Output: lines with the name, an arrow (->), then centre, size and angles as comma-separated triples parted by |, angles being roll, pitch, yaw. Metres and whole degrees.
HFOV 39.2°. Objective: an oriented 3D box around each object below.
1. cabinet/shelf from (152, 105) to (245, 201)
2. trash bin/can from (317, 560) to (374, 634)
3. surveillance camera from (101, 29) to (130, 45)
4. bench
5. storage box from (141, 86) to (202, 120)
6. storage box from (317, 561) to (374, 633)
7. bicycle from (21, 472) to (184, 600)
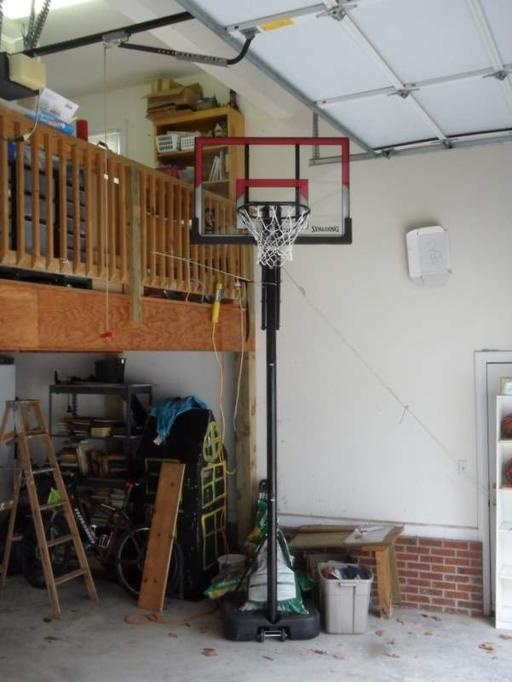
cabinet/shelf -> -0.537, -1.796, 7.005 | 0.768, 0.828, 0.242 | -7, 14, 13
trash bin/can -> 0.698, 2.008, 5.602 | 0.398, 0.395, 0.560 | 1, -12, 8
surveillance camera -> -1.025, -2.171, 5.208 | 0.203, 0.072, 0.116 | 0, -1, 18
bench -> 0.784, 1.875, 5.875 | 0.653, 0.528, 0.835 | -2, -6, 7
storage box -> -0.841, -2.357, 7.152 | 0.399, 0.172, 0.402 | -3, 8, 18
storage box -> 0.672, 1.979, 5.552 | 0.400, 0.425, 0.430 | 1, 1, 5
bicycle -> -1.397, 1.683, 6.254 | 1.640, 1.076, 0.764 | 0, -3, 16
